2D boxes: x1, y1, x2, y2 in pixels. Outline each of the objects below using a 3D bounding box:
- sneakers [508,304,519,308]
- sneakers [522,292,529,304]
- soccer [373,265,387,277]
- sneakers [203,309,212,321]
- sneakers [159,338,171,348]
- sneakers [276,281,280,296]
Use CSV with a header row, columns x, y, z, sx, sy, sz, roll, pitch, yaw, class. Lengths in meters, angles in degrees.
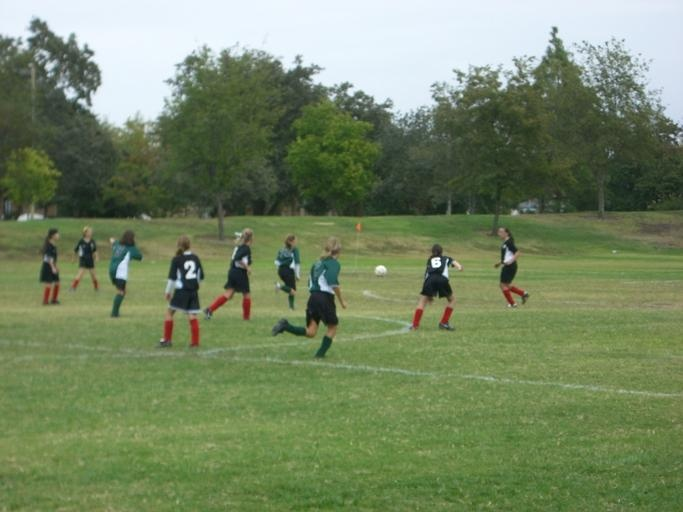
x,y,z,sx,sy,sz,roll,pitch,yaw,class
5.528,1.504,31.455,0.289,0.116,0.673,3,8,11,sneakers
5.917,1.264,31.585,0.196,0.392,0.159,10,-6,-44,sneakers
1.965,0.526,41.504,0.484,0.435,0.448,-3,-9,-11,soccer
-3.574,1.585,28.382,0.193,0.404,0.149,-5,20,-28,sneakers
-4.278,2.142,25.416,0.283,0.206,0.221,0,8,-10,sneakers
-1.724,0.932,29.863,0.196,0.428,0.161,-5,2,6,sneakers
